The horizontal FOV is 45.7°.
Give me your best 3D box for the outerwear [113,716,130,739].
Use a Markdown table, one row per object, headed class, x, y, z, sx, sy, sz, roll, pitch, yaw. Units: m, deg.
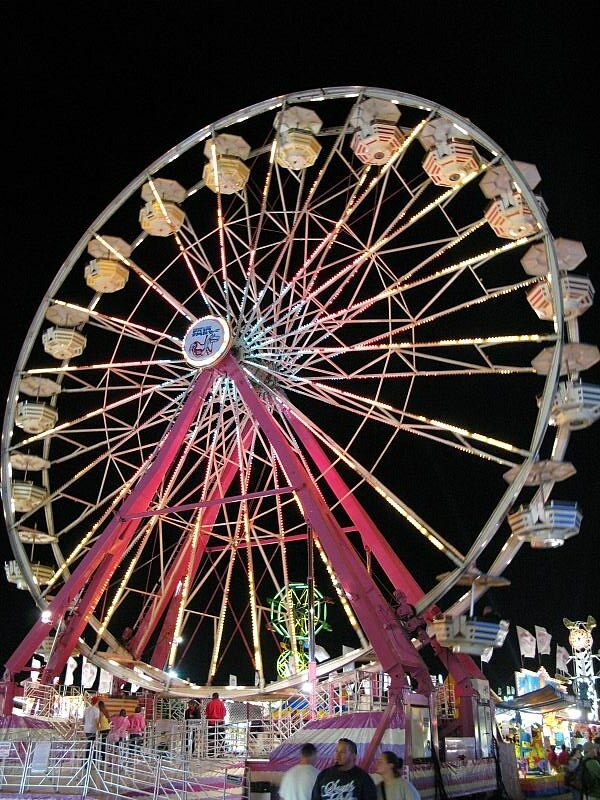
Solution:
| class | x | y | z | sx | sy | sz | roll | pitch | yaw |
| --- | --- | --- | --- | --- | --- | --- | --- | --- | --- |
| outerwear | -2.918 | 5.307 | 11.540 | 0.248 | 0.409 | 0.578 | 7 | -31 | -12 |
